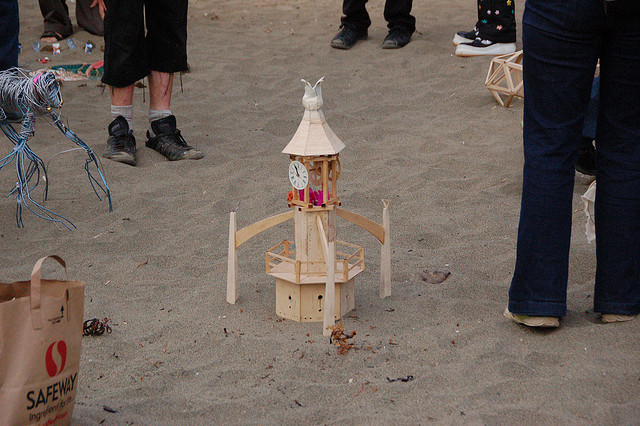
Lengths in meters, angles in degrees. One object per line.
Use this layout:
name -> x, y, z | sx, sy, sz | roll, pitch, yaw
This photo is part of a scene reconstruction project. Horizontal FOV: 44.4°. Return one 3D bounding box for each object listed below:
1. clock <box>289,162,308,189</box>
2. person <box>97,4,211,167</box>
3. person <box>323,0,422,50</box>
clock -> -0.135, -0.216, 4.644 | 0.137, 0.181, 0.044 | 15, 28, 33
person -> -1.510, -1.243, 6.850 | 0.870, 1.271, 1.369 | -5, 24, -8
person -> 0.653, -2.212, 9.133 | 0.710, 0.858, 0.754 | 6, 17, 17
